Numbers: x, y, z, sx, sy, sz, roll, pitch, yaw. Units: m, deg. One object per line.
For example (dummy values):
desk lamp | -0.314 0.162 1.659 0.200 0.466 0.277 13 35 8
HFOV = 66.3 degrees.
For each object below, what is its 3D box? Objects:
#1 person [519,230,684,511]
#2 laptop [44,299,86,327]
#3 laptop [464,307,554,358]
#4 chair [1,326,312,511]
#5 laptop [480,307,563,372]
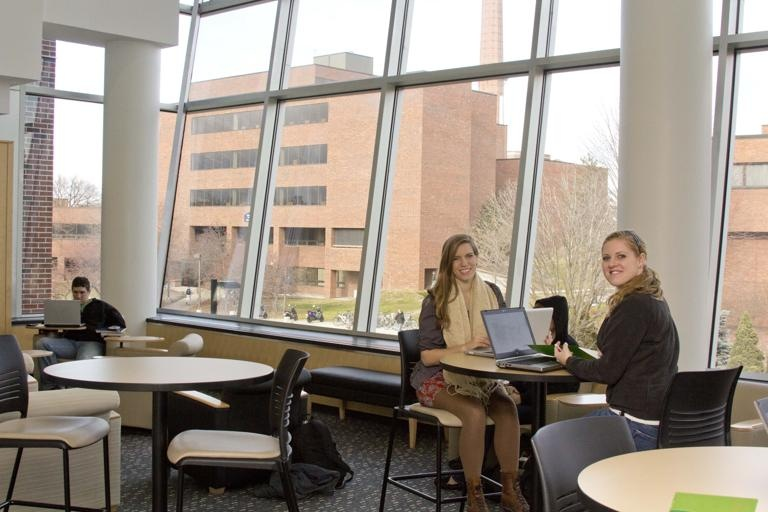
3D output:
person | 1.397 0.470 3.480 0.616 1.389 0.347 0 0 24
laptop | -3.970 0.689 7.270 0.461 0.303 0.312 1 0 -3
laptop | 0.884 0.499 3.890 0.456 0.246 0.369 0 -3 -32
chair | -1.335 1.097 3.616 1.744 1.069 0.725 0 -1 0
laptop | 0.855 0.537 3.803 0.458 0.378 0.287 4 -16 -31
